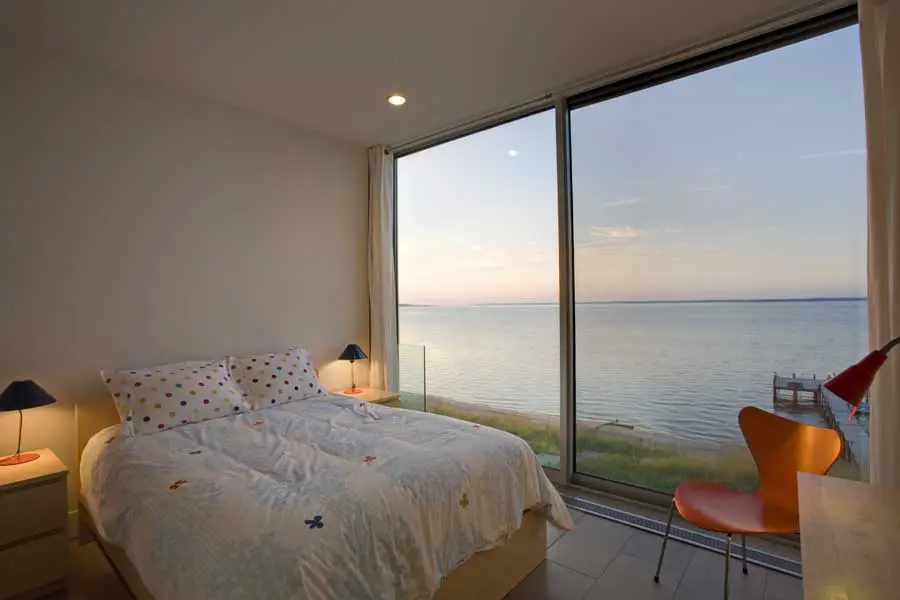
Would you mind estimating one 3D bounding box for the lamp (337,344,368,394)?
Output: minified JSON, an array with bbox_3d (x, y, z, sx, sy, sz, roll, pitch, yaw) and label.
[{"bbox_3d":[-0.942,0.665,5.378,0.274,0.473,0.497,-3,-1,-9],"label":"lamp"}]
